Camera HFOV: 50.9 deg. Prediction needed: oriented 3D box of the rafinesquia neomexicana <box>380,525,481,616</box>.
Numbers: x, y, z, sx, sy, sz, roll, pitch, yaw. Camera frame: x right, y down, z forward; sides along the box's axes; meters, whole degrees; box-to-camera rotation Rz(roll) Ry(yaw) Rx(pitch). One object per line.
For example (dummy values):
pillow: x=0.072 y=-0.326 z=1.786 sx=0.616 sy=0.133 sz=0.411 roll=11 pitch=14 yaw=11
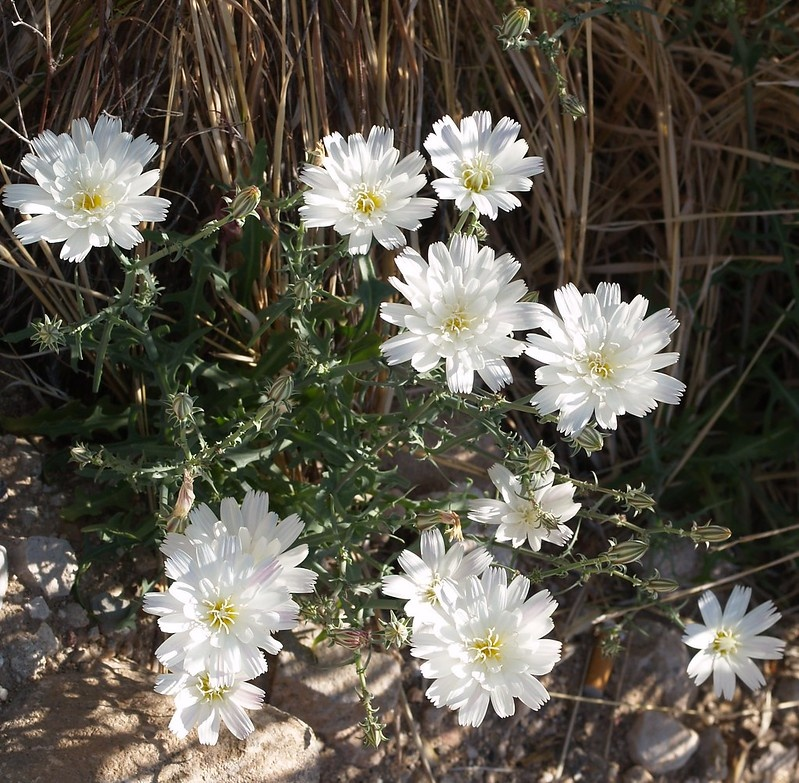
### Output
rafinesquia neomexicana: x=0.064 y=0.348 z=1.648 sx=0.183 sy=0.041 sz=0.164 roll=2 pitch=61 yaw=-12

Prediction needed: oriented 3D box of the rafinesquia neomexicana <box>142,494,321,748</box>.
rafinesquia neomexicana: x=-0.339 y=0.373 z=1.582 sx=0.322 sy=0.142 sz=0.456 roll=19 pitch=84 yaw=-14

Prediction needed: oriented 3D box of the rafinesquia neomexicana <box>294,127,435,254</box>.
rafinesquia neomexicana: x=-0.070 y=-0.367 z=1.562 sx=0.255 sy=0.192 sz=0.236 roll=-26 pitch=50 yaw=-24

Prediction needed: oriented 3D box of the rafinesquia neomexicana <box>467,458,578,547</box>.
rafinesquia neomexicana: x=0.255 y=0.247 z=1.751 sx=0.215 sy=0.222 sz=0.161 roll=16 pitch=47 yaw=16

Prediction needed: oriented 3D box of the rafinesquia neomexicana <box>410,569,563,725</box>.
rafinesquia neomexicana: x=0.161 y=0.465 z=1.552 sx=0.259 sy=0.183 sz=0.270 roll=16 pitch=46 yaw=16

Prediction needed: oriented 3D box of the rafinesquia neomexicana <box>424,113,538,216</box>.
rafinesquia neomexicana: x=0.155 y=-0.428 z=1.582 sx=0.229 sy=0.090 sz=0.207 roll=15 pitch=75 yaw=-5

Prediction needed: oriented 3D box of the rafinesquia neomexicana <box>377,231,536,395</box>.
rafinesquia neomexicana: x=0.119 y=-0.137 z=1.474 sx=0.271 sy=0.178 sz=0.234 roll=9 pitch=45 yaw=9
